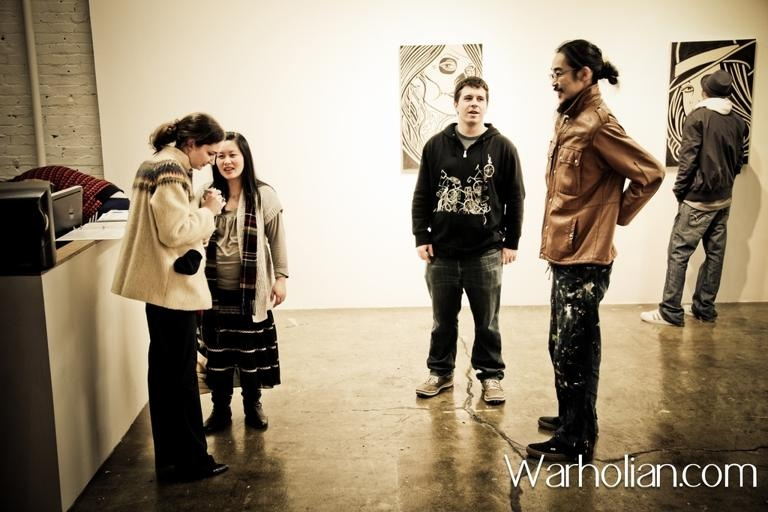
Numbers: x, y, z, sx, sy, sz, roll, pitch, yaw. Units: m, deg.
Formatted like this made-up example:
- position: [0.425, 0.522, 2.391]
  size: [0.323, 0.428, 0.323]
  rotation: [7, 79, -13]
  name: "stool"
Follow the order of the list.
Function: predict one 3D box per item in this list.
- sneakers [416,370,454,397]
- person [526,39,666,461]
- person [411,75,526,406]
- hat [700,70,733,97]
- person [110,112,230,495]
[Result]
- position: [0.393, 1.002, 4.506]
  size: [0.316, 0.132, 0.123]
  rotation: [-3, -4, -37]
  name: "sneakers"
- position: [1.292, -0.011, 3.617]
  size: [0.647, 2.625, 0.367]
  rotation: [3, 7, 23]
  name: "person"
- position: [0.613, -0.120, 4.355]
  size: [0.820, 2.403, 0.338]
  rotation: [2, 7, 13]
  name: "person"
- position: [3.267, -1.720, 5.699]
  size: [0.284, 0.325, 0.123]
  rotation: [25, -31, -1]
  name: "hat"
- position: [-1.291, 0.270, 3.537]
  size: [0.616, 2.257, 0.269]
  rotation: [1, 7, 6]
  name: "person"
